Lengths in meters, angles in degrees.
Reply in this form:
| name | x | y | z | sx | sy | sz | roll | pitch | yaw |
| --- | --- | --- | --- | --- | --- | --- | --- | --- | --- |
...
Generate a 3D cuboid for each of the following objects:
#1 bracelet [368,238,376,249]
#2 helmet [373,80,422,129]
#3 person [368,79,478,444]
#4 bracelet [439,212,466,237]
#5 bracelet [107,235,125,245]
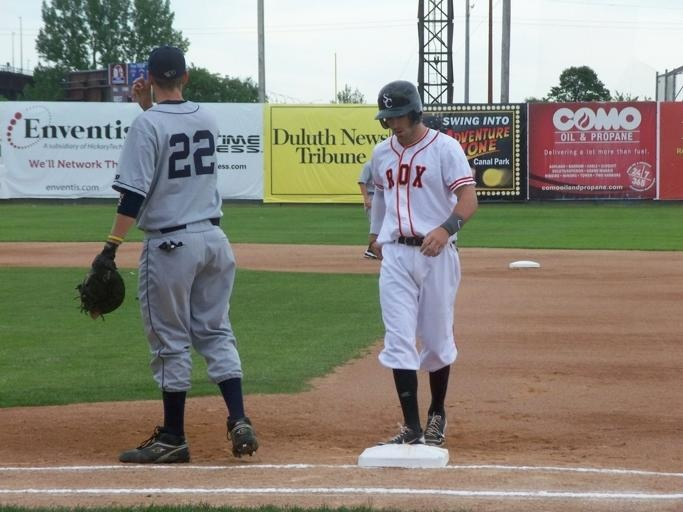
| name | x | y | z | sx | sy | sz | roll | pitch | yaw |
| --- | --- | --- | --- | --- | --- | --- | --- | --- | --- |
| bracelet | 0.351 | -0.139 | 15.216 | 0.092 | 0.086 | 0.075 | 4 | 5 | 41 |
| helmet | 0.606 | -1.655 | 14.914 | 0.486 | 0.469 | 0.668 | 1 | 18 | 34 |
| person | 0.831 | 0.090 | 14.805 | 1.146 | 3.901 | 0.955 | 3 | 9 | 21 |
| bracelet | 1.202 | -0.350 | 14.736 | 0.218 | 0.204 | 0.252 | -43 | 16 | 12 |
| bracelet | -2.422 | -0.185 | 14.566 | 0.155 | 0.127 | 0.167 | -2 | 9 | -10 |
